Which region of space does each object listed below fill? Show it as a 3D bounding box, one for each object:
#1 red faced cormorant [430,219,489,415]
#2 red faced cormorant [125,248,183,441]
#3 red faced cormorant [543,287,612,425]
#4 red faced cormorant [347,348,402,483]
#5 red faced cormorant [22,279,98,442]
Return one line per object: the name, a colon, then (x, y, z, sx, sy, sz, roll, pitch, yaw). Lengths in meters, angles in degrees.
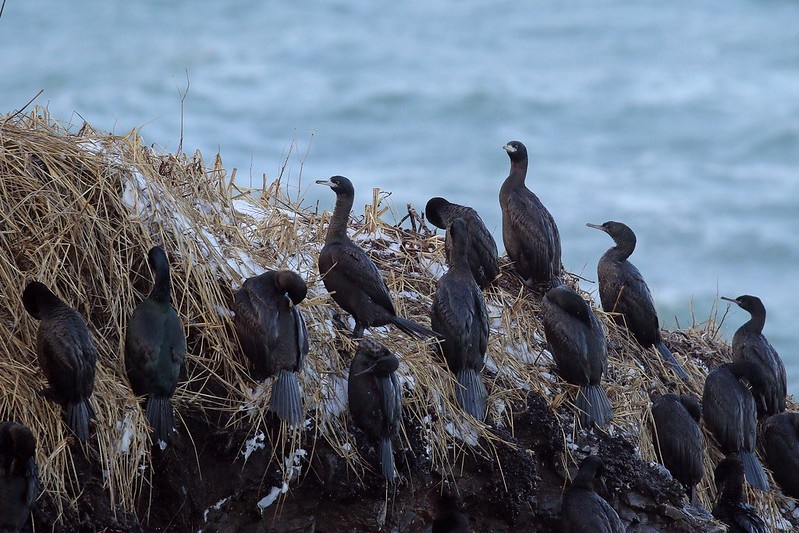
red faced cormorant: (0.608, 0.495, 11.673, 0.562, 1.951, 0.270, 3, -17, 16)
red faced cormorant: (-2.055, 0.651, 10.499, 0.507, 1.610, 0.239, 11, -16, -11)
red faced cormorant: (1.699, 0.837, 11.917, 0.460, 1.504, 0.632, -9, -35, -5)
red faced cormorant: (-0.212, 1.277, 10.881, 0.382, 1.274, 0.531, 0, -11, -23)
red faced cormorant: (-2.814, 0.798, 10.241, 0.744, 1.234, 0.362, 11, -16, -13)
